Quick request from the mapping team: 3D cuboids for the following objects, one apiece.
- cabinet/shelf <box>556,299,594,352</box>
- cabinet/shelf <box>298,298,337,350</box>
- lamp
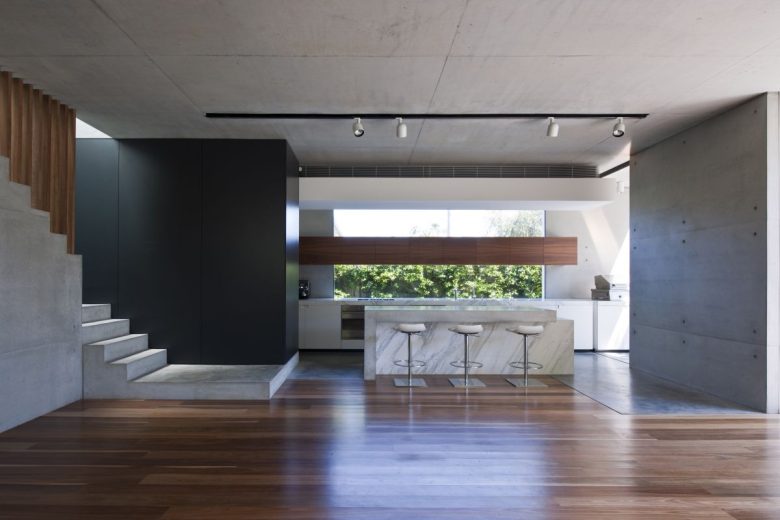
[{"bbox_3d":[3.264,1.148,10.870,0.640,0.842,0.379,2,15,7],"label":"cabinet/shelf"},{"bbox_3d":[-1.242,1.138,10.615,1.011,0.882,0.538,0,-1,0],"label":"cabinet/shelf"},{"bbox_3d":[1.367,-1.738,8.085,3.650,0.273,0.837,0,14,-1],"label":"lamp"}]
